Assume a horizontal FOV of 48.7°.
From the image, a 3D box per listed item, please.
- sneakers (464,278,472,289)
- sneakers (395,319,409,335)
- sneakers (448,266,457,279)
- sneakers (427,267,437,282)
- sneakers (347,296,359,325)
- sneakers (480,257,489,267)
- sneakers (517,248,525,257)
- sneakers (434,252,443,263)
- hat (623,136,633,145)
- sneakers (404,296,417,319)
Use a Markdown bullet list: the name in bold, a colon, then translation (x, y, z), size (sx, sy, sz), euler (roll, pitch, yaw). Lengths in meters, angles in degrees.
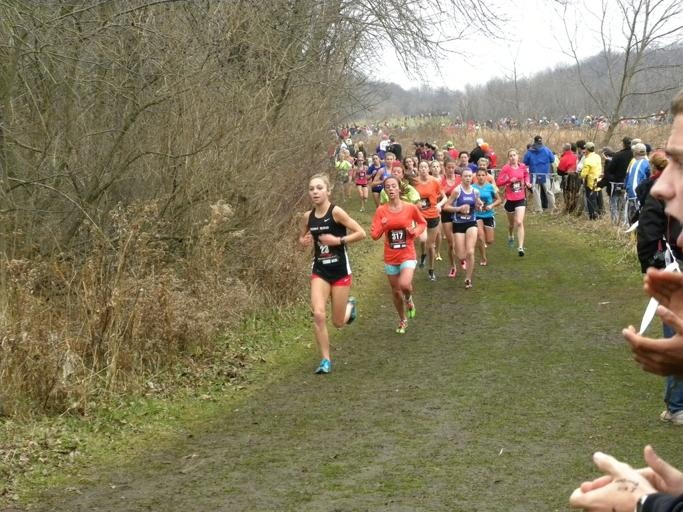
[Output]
- **sneakers**: translation (2.244, 0.498, 13.506), size (0.170, 0.225, 0.507), euler (-2, -1, 7)
- **sneakers**: translation (0.871, 1.040, 11.138), size (0.106, 0.132, 0.294), euler (-1, 1, 16)
- **sneakers**: translation (2.140, 0.311, 14.737), size (0.104, 0.125, 0.296), euler (-2, 10, 19)
- **sneakers**: translation (1.730, 0.368, 14.648), size (0.206, 0.260, 0.616), euler (-2, 6, 2)
- **sneakers**: translation (0.142, 0.731, 10.436), size (0.144, 0.433, 0.194), euler (2, -12, -2)
- **sneakers**: translation (2.925, 0.123, 15.586), size (0.154, 0.184, 0.460), euler (-3, 4, 9)
- **sneakers**: translation (3.807, -0.078, 16.141), size (0.156, 0.087, 0.271), euler (1, -6, 12)
- **sneakers**: translation (2.114, 0.029, 16.712), size (0.164, 0.237, 0.539), euler (-2, -9, 10)
- **hat**: translation (6.503, -2.630, 17.313), size (0.214, 0.263, 0.274), euler (2, 23, 16)
- **sneakers**: translation (1.031, 0.807, 11.405), size (0.152, 0.423, 0.194), euler (-10, 22, 9)
